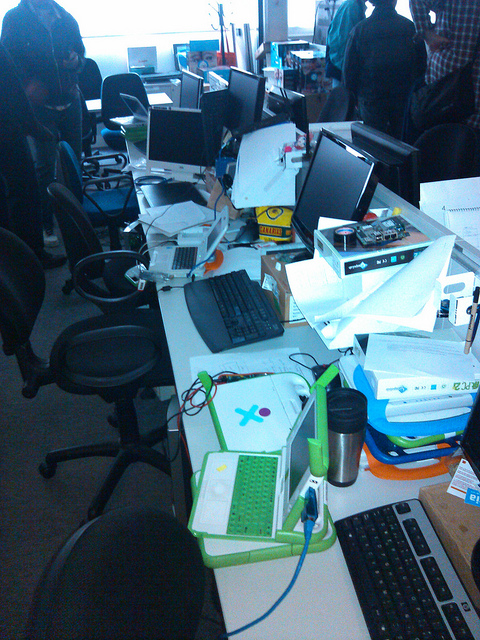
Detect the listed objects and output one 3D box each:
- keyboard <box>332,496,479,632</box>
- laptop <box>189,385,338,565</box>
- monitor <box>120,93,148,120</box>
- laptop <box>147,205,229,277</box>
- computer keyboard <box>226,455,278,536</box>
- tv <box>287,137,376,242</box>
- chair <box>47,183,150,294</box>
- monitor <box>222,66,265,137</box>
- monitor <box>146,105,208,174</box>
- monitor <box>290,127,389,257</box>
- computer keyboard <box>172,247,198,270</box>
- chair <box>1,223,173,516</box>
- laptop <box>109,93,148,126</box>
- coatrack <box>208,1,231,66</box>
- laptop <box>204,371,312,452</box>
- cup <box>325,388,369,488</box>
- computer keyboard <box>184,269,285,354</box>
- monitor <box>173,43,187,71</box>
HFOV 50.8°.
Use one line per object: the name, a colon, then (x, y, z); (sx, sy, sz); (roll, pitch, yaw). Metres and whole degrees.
keyboard: (0.279, 0.434, 0.881); (0.174, 0.054, 0.241); (-1, 32, -6)
laptop: (0.040, 0.332, 1.012); (0.293, 0.237, 0.307); (-2, 41, 1)
monitor: (-0.786, -1.580, 3.778); (0.137, 0.182, 0.458); (-7, 33, -16)
laptop: (-0.190, -0.260, 1.979); (0.306, 0.227, 0.245); (5, 48, -1)
computer keyboard: (0.033, 0.359, 1.046); (0.125, 0.039, 0.282); (3, 11, 8)
tv: (0.286, -0.411, 1.574); (0.057, 0.321, 0.430); (11, 28, -17)
chair: (-0.573, -0.382, 2.286); (0.442, 0.521, 0.479); (-12, 34, -20)
monitor: (0.017, -1.123, 2.643); (0.056, 0.308, 0.426); (-5, 32, -21)
monitor: (-0.339, -1.036, 2.941); (0.456, 0.344, 0.048); (-6, 23, -32)
monitor: (0.299, -0.384, 1.522); (0.079, 0.356, 0.483); (8, 34, -16)
computer keyboard: (-0.218, -0.237, 1.973); (0.077, 0.008, 0.154); (0, 42, 1)
chair: (-0.596, 0.233, 1.997); (0.631, 0.971, 0.710); (-4, 50, -10)
laptop: (-0.841, -1.597, 3.861); (0.197, 0.247, 0.646); (-7, 33, -16)
coatrack: (-0.211, -2.991, 5.272); (0.227, 0.534, 0.891); (0, 31, -3)
laptop: (0.044, 0.224, 1.219); (0.176, 0.045, 0.194); (-5, 38, -6)
cup: (0.206, 0.255, 1.020); (0.081, 0.145, 0.081); (1, 0, 0)
computer keyboard: (-0.032, -0.022, 1.633); (0.224, 0.051, 0.364); (-14, 38, -9)
monitor: (-0.745, -3.282, 6.347); (0.173, 0.312, 0.499); (-3, 32, -8)
